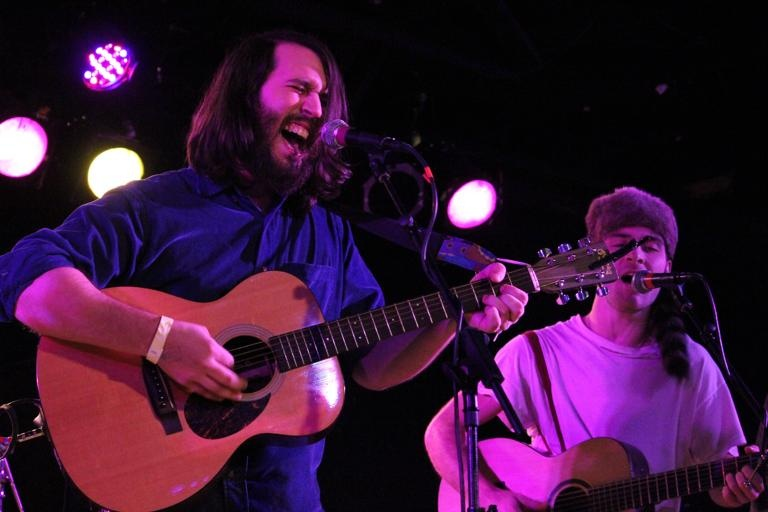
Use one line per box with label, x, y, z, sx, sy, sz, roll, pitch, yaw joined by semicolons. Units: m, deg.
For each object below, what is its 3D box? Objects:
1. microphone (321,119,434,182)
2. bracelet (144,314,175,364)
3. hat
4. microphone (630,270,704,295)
microphone;-0.061;-0.632;4.521;0.787;0.282;0.264;29;24;17
bracelet;-1.345;0.495;4.326;0.137;0.275;0.092;-8;-19;38
hat;1.900;-0.267;5.720;0.560;0.435;0.626;9;-1;-10
microphone;1.901;0.159;4.904;0.484;0.157;0.159;-8;-19;36
